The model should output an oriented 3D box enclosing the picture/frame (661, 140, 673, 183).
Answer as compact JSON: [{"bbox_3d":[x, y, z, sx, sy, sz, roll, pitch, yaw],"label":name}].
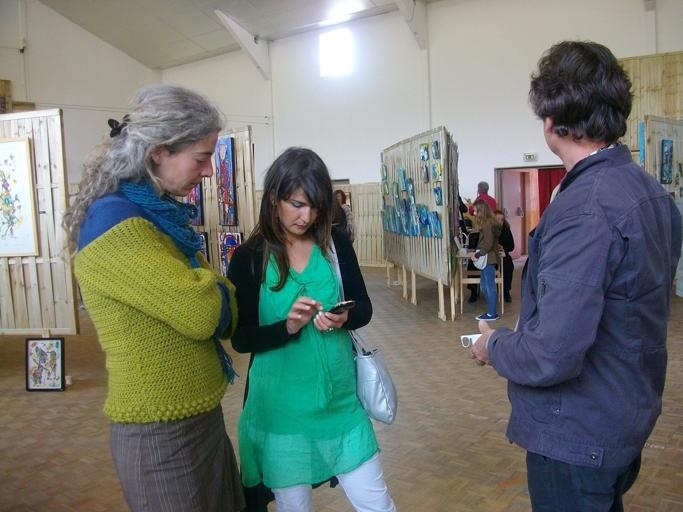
[{"bbox_3d":[5.457,-1.621,8.007,0.057,0.894,0.706,0,4,30],"label":"picture/frame"}]

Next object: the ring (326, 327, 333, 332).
[{"bbox_3d":[-0.045,0.311,1.999,0.030,0.011,0.024,0,1,27],"label":"ring"}]

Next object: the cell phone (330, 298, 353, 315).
[{"bbox_3d":[-0.001,0.208,1.907,0.100,0.064,0.091,-3,6,-5],"label":"cell phone"}]

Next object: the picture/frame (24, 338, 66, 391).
[{"bbox_3d":[-3.168,1.177,5.125,0.558,0.803,0.050,0,-1,2],"label":"picture/frame"}]
